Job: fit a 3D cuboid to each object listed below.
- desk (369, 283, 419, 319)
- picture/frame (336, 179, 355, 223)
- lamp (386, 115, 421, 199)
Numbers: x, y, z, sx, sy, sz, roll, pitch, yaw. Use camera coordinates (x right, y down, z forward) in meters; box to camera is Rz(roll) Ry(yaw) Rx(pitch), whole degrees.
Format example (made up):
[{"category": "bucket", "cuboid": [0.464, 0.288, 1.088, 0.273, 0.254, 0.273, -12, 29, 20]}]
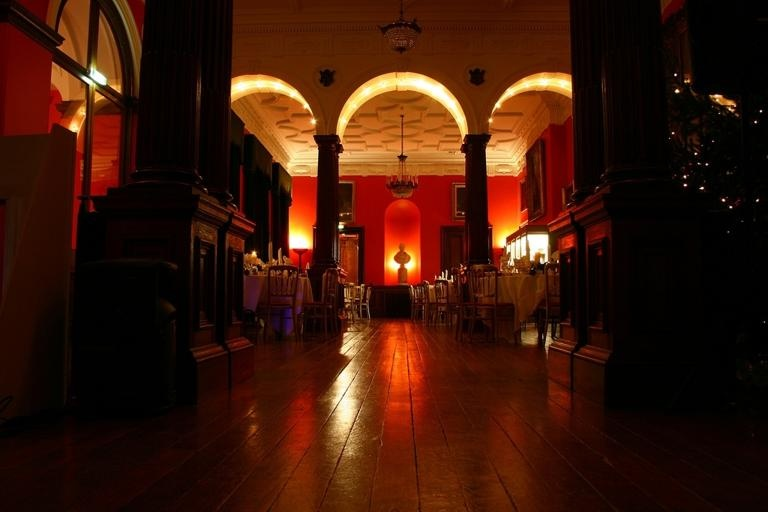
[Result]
[{"category": "desk", "cuboid": [0.156, 1.216, 15.463, 1.336, 1.125, 0.755, -1, -8, 8]}, {"category": "picture/frame", "cuboid": [-1.040, -1.537, 16.340, 0.430, 1.170, 0.210, 0, 3, 3]}, {"category": "lamp", "cuboid": [0.457, -2.532, 14.133, 0.779, 1.976, 0.776, -3, 5, -40]}]
